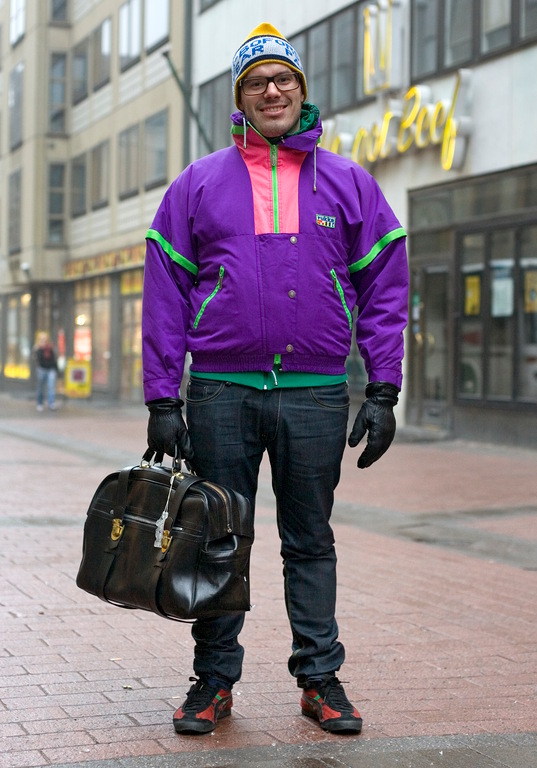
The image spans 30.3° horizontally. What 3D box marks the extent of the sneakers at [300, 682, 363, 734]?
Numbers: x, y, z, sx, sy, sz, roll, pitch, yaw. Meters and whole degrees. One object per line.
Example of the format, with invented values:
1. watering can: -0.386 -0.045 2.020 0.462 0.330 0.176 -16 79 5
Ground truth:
1. sneakers: 0.144 0.785 2.397 0.063 0.081 0.182 0 -5 -27

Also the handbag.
1. handbag: -0.246 0.354 2.412 0.474 0.421 0.193 3 -6 44

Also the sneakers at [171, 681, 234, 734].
1. sneakers: -0.158 0.779 2.440 0.089 0.115 0.258 -3 -4 17

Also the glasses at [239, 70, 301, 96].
1. glasses: 0.005 -0.746 2.462 0.154 0.051 0.054 2 0 4

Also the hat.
1. hat: 0.003 -0.816 2.555 0.169 0.189 0.215 -5 5 2
